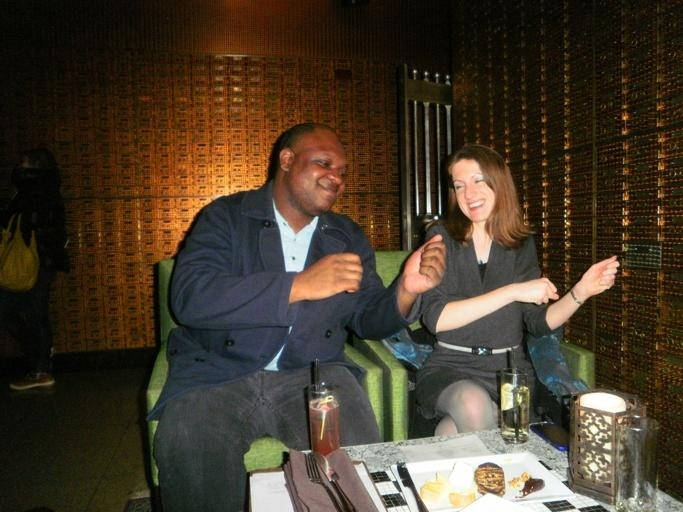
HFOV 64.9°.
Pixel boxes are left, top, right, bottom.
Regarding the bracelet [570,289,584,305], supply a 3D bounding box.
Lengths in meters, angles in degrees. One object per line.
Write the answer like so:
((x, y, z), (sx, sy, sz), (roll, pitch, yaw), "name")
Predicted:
((1.190, 0.214, 2.752), (0.021, 0.071, 0.073), (-37, -1, 15), "bracelet")

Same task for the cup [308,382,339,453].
((-0.060, 0.643, 2.125), (0.116, 0.256, 0.235), (-2, 6, -3), "cup")

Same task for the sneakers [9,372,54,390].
((-2.618, 1.077, 4.720), (0.394, 0.180, 0.148), (3, 8, -16), "sneakers")

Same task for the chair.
((0.142, 0.530, 2.516), (1.172, 0.815, 0.601), (-3, 7, -12), "chair")
